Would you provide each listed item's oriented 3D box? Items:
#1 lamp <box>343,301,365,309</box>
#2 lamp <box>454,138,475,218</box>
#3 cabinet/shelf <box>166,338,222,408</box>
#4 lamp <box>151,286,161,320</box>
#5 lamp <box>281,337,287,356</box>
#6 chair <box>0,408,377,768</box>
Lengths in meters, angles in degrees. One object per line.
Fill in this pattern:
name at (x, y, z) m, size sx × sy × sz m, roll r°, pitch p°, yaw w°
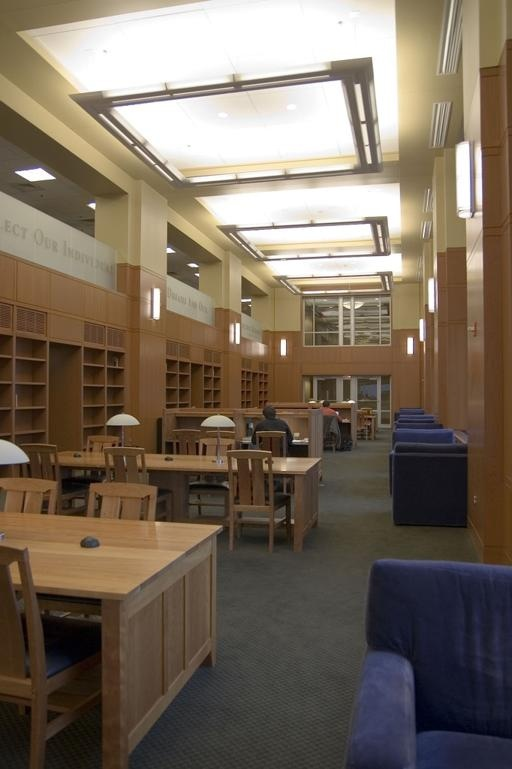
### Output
lamp at (3.842, -3.145, 21.808) m, size 0.763 × 0.392 × 0.095 m, roll 1°, pitch -1°, yaw 13°
lamp at (1.639, -1.595, 4.300) m, size 0.126 × 0.562 × 0.214 m, roll 1°, pitch -1°, yaw 25°
cabinet/shelf at (-1.491, -0.187, 13.666) m, size 0.745 × 1.508 × 3.533 m, roll 1°, pitch -1°, yaw 8°
lamp at (-1.942, -1.551, 10.629) m, size 0.126 × 0.607 × 0.222 m, roll 1°, pitch -1°, yaw 16°
lamp at (1.079, -1.461, 21.688) m, size 0.286 × 0.697 × 0.645 m, roll 1°, pitch -1°, yaw 9°
chair at (-0.357, 1.049, 3.184) m, size 0.977 × 1.996 × 1.225 m, roll 1°, pitch -8°, yaw 0°
